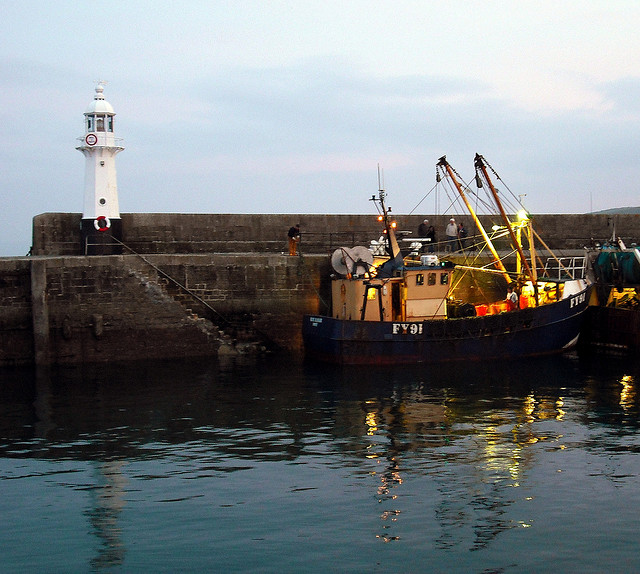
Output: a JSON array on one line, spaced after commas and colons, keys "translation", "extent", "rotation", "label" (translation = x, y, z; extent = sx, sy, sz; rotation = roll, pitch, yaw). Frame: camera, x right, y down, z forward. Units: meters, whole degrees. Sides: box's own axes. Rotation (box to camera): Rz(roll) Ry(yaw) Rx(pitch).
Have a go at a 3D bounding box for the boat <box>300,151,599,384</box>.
[{"translation": [3.712, -0.783, 31.515], "extent": [6.994, 5.652, 10.338], "rotation": [3, 10, 15], "label": "boat"}]
